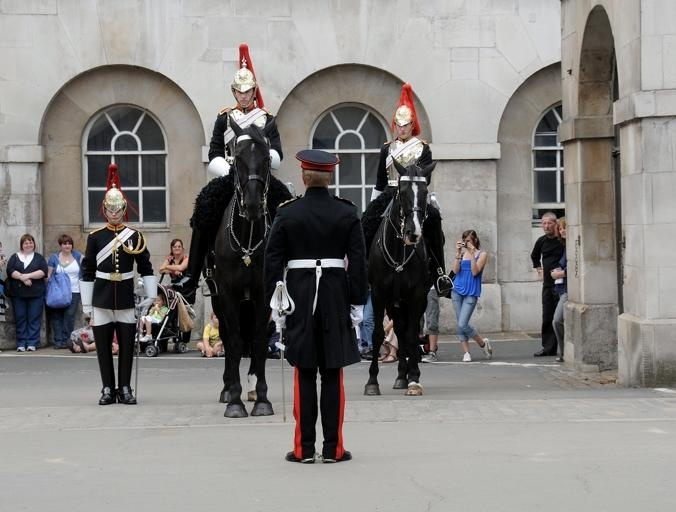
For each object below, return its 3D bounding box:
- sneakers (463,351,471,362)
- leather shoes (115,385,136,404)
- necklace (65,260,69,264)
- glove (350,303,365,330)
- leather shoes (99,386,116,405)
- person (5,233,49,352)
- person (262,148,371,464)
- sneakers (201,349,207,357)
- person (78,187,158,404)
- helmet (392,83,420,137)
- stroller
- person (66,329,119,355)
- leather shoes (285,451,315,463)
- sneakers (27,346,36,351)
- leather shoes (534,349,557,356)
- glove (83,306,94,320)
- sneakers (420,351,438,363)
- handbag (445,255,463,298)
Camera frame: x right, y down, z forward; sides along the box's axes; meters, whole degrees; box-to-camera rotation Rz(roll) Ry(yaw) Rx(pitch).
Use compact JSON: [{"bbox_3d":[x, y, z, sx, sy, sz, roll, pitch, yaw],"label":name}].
[{"bbox_3d":[1.909,1.524,20.145,0.164,0.172,0.428,1,0,5],"label":"sneakers"},{"bbox_3d":[-2.605,1.730,16.593,0.245,0.209,0.311,-3,9,-10],"label":"leather shoes"},{"bbox_3d":[-4.552,0.108,22.631,0.044,0.041,0.010,3,-26,-9],"label":"necklace"},{"bbox_3d":[0.190,0.649,14.093,0.177,0.217,0.095,3,2,-1],"label":"glove"},{"bbox_3d":[-2.838,1.738,16.567,0.198,0.198,0.298,-2,9,-6],"label":"leather shoes"},{"bbox_3d":[-5.170,0.622,22.251,0.581,1.861,0.675,1,9,15],"label":"person"},{"bbox_3d":[-0.191,0.516,13.856,0.989,3.173,0.742,-5,10,-25],"label":"person"},{"bbox_3d":[-2.098,1.535,21.083,0.083,0.097,0.238,2,-12,-11],"label":"sneakers"},{"bbox_3d":[-2.729,0.486,16.760,0.916,2.717,0.869,-3,9,-9],"label":"person"},{"bbox_3d":[0.862,-1.954,17.939,0.405,0.618,0.329,3,-7,-10],"label":"helmet"},{"bbox_3d":[-2.724,0.890,21.613,1.028,1.360,0.781,-4,-3,1],"label":"stroller"},{"bbox_3d":[-4.085,1.388,21.516,0.712,0.345,0.927,1,-1,-5],"label":"person"},{"bbox_3d":[-0.413,2.089,13.832,0.305,0.123,0.110,8,-6,30],"label":"leather shoes"},{"bbox_3d":[-5.032,1.531,22.156,0.154,0.078,0.142,-4,9,-20],"label":"sneakers"},{"bbox_3d":[3.117,1.489,20.463,0.349,0.127,0.114,3,-5,-3],"label":"leather shoes"},{"bbox_3d":[-3.120,0.702,16.826,0.111,0.185,0.289,-3,9,-12],"label":"glove"},{"bbox_3d":[1.362,1.548,20.242,0.309,0.195,0.105,0,-7,9],"label":"sneakers"},{"bbox_3d":[1.738,0.320,20.288,0.222,0.582,0.343,32,45,18],"label":"handbag"}]
